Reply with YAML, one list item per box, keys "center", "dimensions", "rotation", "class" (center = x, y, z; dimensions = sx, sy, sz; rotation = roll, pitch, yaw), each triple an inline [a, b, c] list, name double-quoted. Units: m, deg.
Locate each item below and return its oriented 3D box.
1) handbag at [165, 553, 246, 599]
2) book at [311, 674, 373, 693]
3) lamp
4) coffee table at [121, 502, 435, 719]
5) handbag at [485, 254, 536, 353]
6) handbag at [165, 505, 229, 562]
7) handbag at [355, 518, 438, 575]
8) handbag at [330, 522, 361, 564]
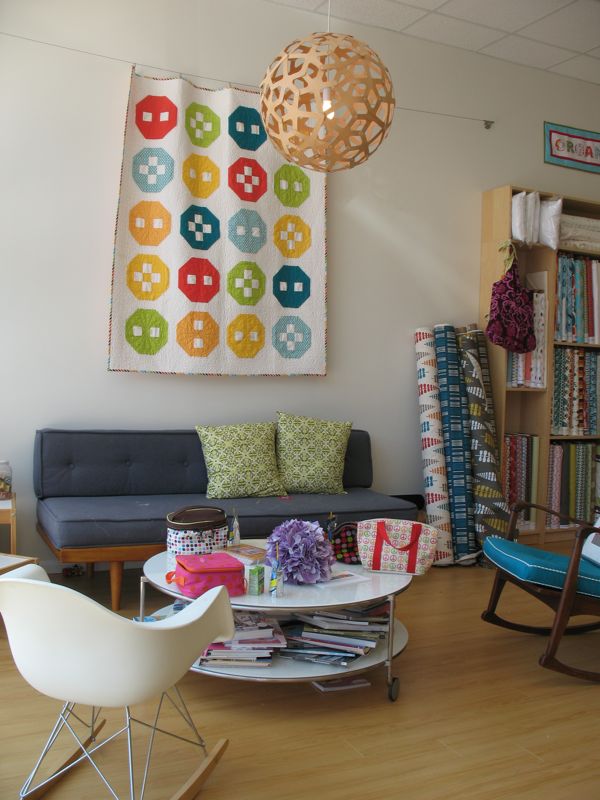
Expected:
- center: [-0.280, 0.519, 2.160]
  dimensions: [0.184, 0.061, 0.178]
  rotation: [3, -2, -17]
  class: "handbag"
- center: [0.137, 0.947, 2.383]
  dimensions: [0.135, 0.030, 0.121]
  rotation: [1, -6, -19]
  class: "book"
- center: [0.075, -0.900, 2.139]
  dimensions: [0.321, 0.382, 0.282]
  rotation: [3, 2, 44]
  class: "lamp"
- center: [-0.158, 0.683, 2.563]
  dimensions: [1.079, 0.413, 1.080]
  rotation: [2, 9, -33]
  class: "coffee table"
- center: [1.320, -0.578, 4.417]
  dimensions: [0.345, 0.556, 0.138]
  rotation: [1, 2, -22]
  class: "handbag"
- center: [-0.354, 0.433, 2.413]
  dimensions: [0.204, 0.136, 0.164]
  rotation: [-3, 12, -26]
  class: "handbag"
- center: [0.323, 0.508, 2.467]
  dimensions: [0.268, 0.169, 0.083]
  rotation: [4, 2, 8]
  class: "handbag"
- center: [0.167, 0.511, 2.566]
  dimensions: [0.110, 0.140, 0.035]
  rotation: [0, -8, -6]
  class: "handbag"
